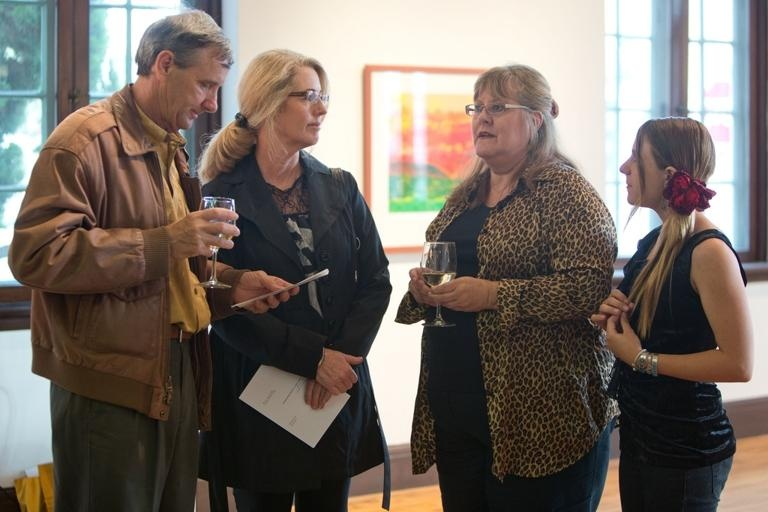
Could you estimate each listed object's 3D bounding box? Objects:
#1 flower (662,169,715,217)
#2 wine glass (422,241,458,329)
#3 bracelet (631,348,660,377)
[{"bbox_3d":[1.129,-0.277,2.715,0.167,0.181,0.083,23,10,1],"label":"flower"},{"bbox_3d":[0.233,0.084,2.939,0.134,0.366,0.224,2,6,20],"label":"wine glass"},{"bbox_3d":[0.978,0.392,2.722,0.085,0.103,0.091,15,-7,-41],"label":"bracelet"}]
